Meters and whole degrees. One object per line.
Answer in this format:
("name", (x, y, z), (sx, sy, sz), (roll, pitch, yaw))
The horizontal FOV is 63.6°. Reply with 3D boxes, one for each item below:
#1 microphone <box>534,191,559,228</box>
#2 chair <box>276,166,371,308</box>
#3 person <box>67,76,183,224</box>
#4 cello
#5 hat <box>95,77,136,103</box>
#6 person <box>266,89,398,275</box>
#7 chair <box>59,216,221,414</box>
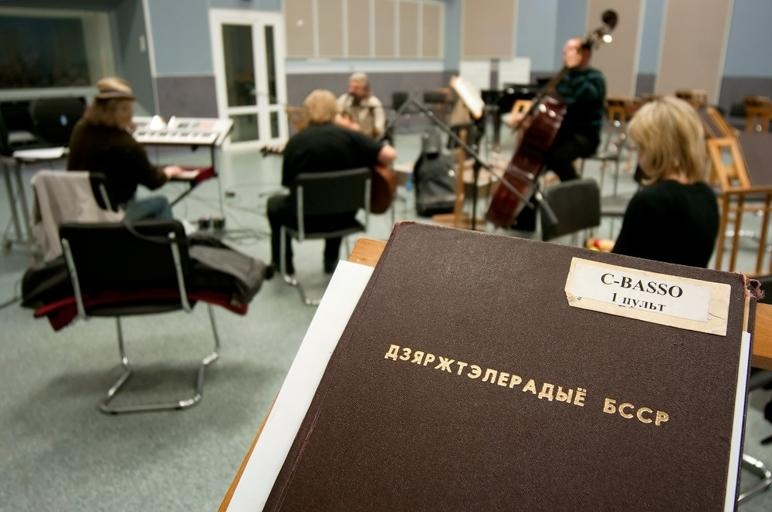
("microphone", (0.797, -0.232, 3.069), (0.104, 0.153, 0.108), (8, 21, 26))
("chair", (-0.339, -0.154, 3.291), (0.426, 0.727, 0.473), (-5, 27, -14))
("person", (-1.103, -0.322, 2.626), (0.355, 0.774, 0.447), (24, 25, 25))
("cello", (0.953, -0.674, 3.644), (0.621, 1.378, 0.945), (5, 20, 18))
("hat", (-1.032, -0.629, 2.359), (0.142, 0.082, 0.032), (-1, 19, 1))
("person", (-0.293, -0.291, 2.970), (0.635, 0.955, 0.481), (18, 31, 21))
("chair", (-1.100, 0.198, 2.844), (0.560, 0.933, 0.639), (0, 23, -3))
